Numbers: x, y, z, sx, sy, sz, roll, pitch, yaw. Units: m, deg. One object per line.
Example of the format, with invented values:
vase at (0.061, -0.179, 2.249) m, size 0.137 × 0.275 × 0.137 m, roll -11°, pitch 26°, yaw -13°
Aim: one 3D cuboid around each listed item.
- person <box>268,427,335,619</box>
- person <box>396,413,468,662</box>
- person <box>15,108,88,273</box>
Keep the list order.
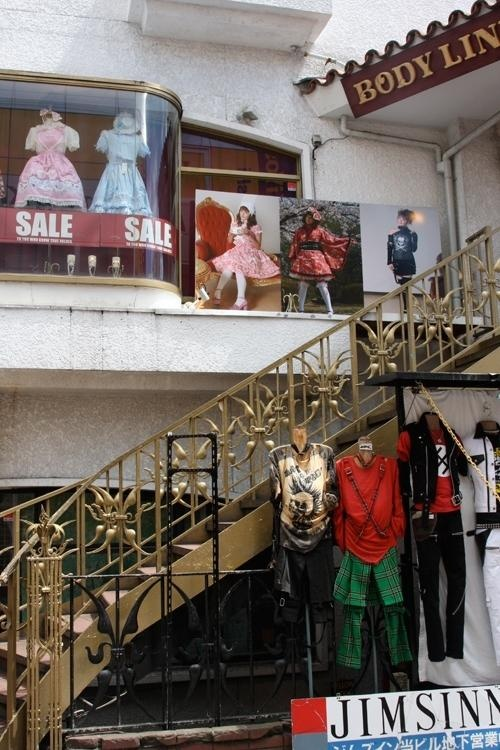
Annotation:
person at (0.370, 0.981, 8.644) m, size 0.458 × 1.226 × 0.229 m, roll -2°, pitch -5°, yaw 0°
person at (1.252, 1.100, 8.582) m, size 0.419 × 1.704 × 0.180 m, roll -2°, pitch -5°, yaw 3°
person at (-1.702, -1.848, 10.515) m, size 0.570 × 0.923 × 0.170 m, roll -1°, pitch -5°, yaw -9°
